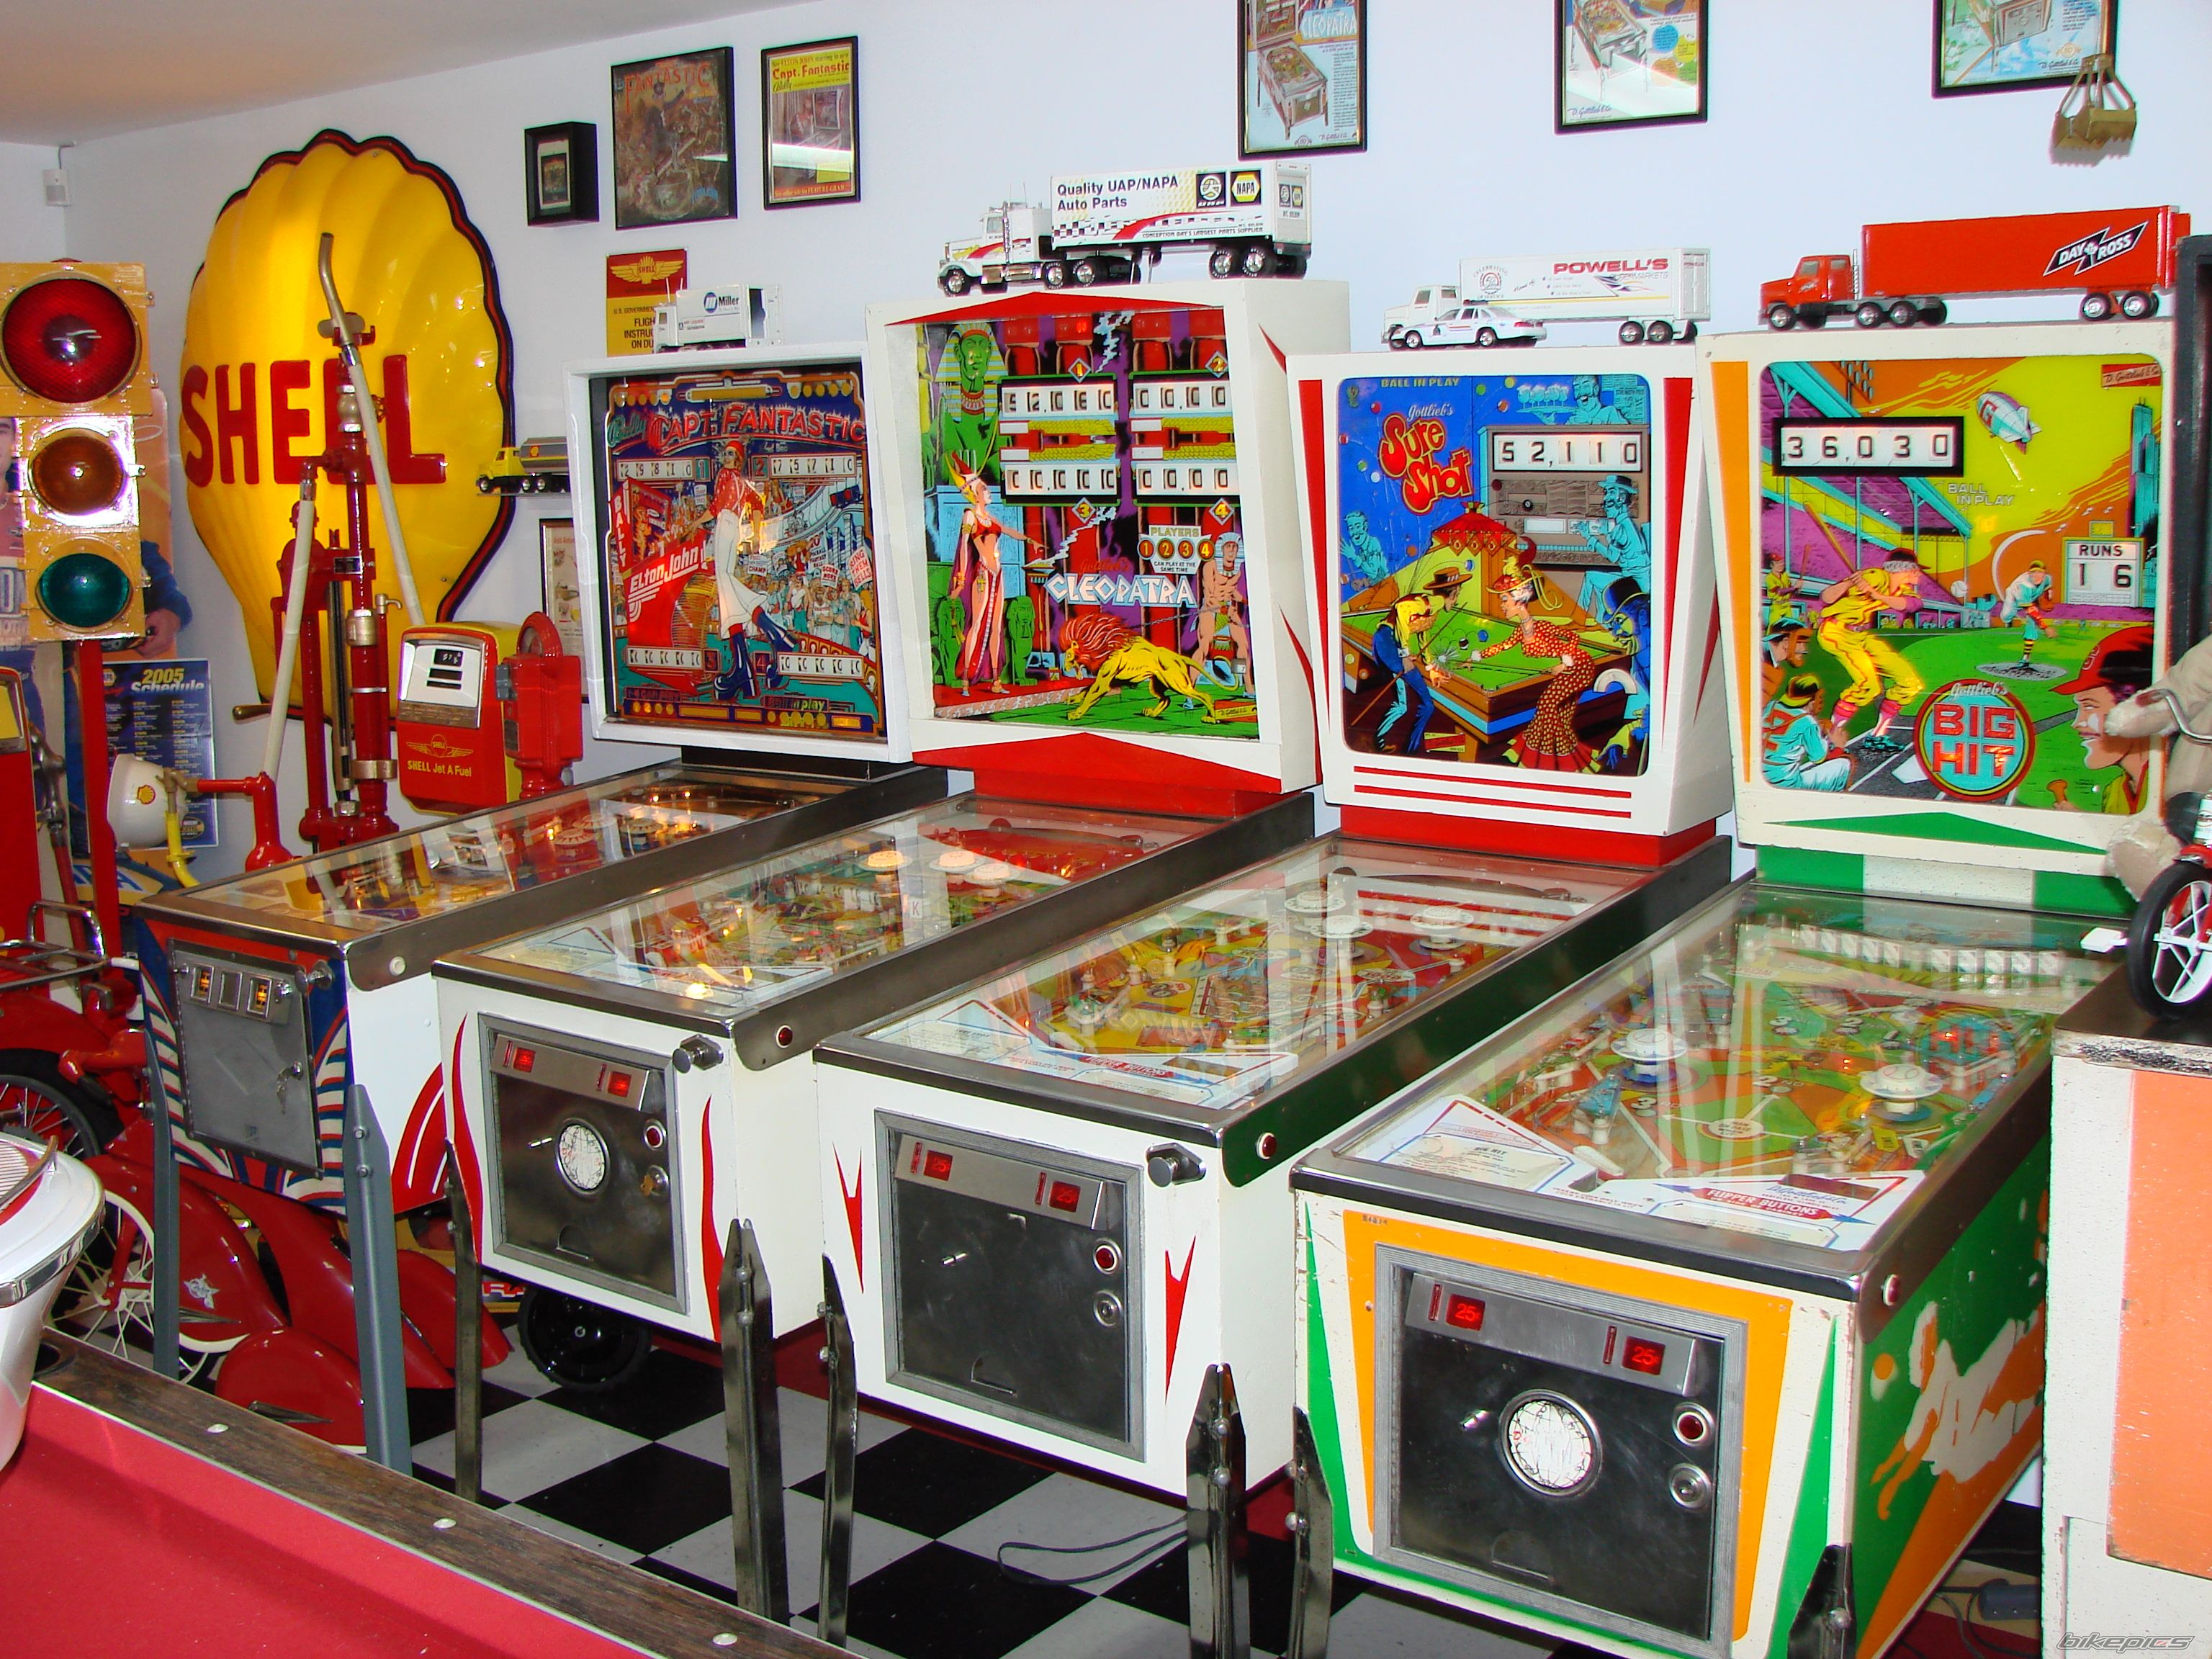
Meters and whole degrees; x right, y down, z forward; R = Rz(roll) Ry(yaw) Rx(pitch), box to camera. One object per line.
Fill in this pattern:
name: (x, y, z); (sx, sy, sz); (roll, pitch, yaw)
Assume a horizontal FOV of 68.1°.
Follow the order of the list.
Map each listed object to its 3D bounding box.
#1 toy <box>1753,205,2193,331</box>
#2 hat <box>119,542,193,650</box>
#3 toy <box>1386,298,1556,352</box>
toy: (1.329, -0.861, 2.555); (0.572, 0.173, 0.193); (5, 13, 27)
hat: (-3.439, -0.832, 6.000); (0.198, 0.427, 0.296); (-8, 13, -32)
toy: (0.642, -0.923, 2.940); (0.249, 0.090, 0.117); (9, 20, 23)
